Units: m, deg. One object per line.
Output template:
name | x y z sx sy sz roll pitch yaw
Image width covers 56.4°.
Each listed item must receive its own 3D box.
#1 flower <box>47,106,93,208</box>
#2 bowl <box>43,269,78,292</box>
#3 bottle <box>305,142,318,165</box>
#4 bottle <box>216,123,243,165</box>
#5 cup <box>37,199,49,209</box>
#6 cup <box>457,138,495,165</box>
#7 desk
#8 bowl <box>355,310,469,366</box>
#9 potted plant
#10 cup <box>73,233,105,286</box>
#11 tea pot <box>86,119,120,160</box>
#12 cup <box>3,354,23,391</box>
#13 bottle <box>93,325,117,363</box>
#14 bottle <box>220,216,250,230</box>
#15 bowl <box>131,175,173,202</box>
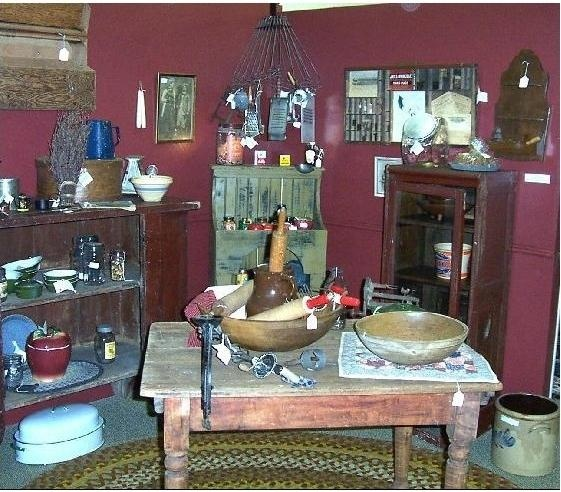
flower | -1.177 -0.496 2.922 0.213 0.534 0.333 -3 10 -14
bowl | -1.260 0.186 3.004 0.179 0.094 0.302 -5 11 -23
bottle | 0.229 -0.689 3.908 0.086 0.170 0.205 0 10 4
bottle | -0.314 -0.754 3.875 0.287 0.282 0.269 -3 17 -11
cup | -1.242 -0.213 2.741 0.070 0.052 0.059 -6 11 -29
cup | 1.127 -0.531 3.018 0.210 0.115 0.196 -1 12 0
desk | 0.061 0.251 1.617 1.016 0.648 0.570 0 9 -4
bowl | 0.423 0.306 1.705 0.342 0.095 0.342 -2 9 0
potted plant | -1.245 0.592 2.816 0.205 0.270 0.114 -5 11 -21
cup | -1.123 0.076 3.087 0.185 0.274 0.129 8 13 39
tea pot | -1.066 -0.632 3.108 0.260 0.223 0.159 -7 21 -37
cup | -1.409 0.660 2.756 0.086 0.154 0.153 -5 11 -22
bottle | -1.056 0.590 3.132 0.112 0.217 0.078 -1 10 -3
bottle | -0.309 -0.164 3.747 0.206 0.093 0.221 -1 10 0
bowl | -0.779 -0.369 3.179 0.192 0.108 0.182 -2 14 0
